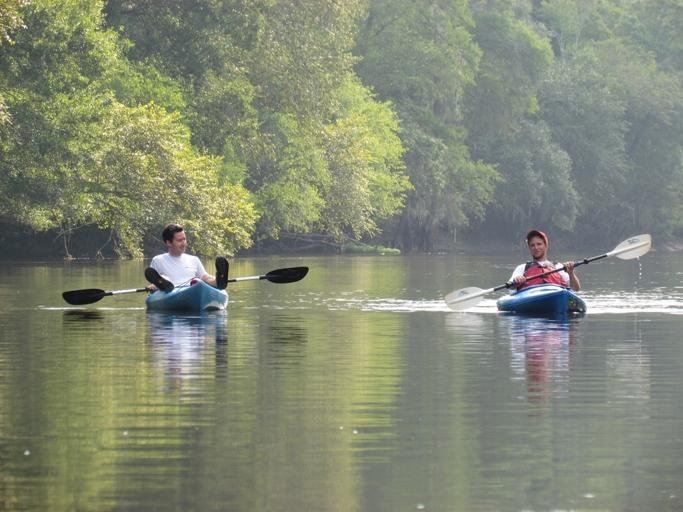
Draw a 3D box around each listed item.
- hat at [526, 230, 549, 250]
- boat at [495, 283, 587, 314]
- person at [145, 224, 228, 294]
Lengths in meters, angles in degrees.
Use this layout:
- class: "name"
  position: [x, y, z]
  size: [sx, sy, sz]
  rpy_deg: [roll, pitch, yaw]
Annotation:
- class: "hat"
  position: [3.852, -0.354, 27.665]
  size: [0.353, 0.277, 0.489]
  rpy_deg: [-1, -3, 2]
- class: "boat"
  position: [4.007, 0.882, 28.221]
  size: [1.659, 0.605, 0.822]
  rpy_deg: [-2, -3, 15]
- class: "person"
  position: [-3.096, 0.184, 28.108]
  size: [1.283, 1.487, 1.378]
  rpy_deg: [2, 2, -28]
